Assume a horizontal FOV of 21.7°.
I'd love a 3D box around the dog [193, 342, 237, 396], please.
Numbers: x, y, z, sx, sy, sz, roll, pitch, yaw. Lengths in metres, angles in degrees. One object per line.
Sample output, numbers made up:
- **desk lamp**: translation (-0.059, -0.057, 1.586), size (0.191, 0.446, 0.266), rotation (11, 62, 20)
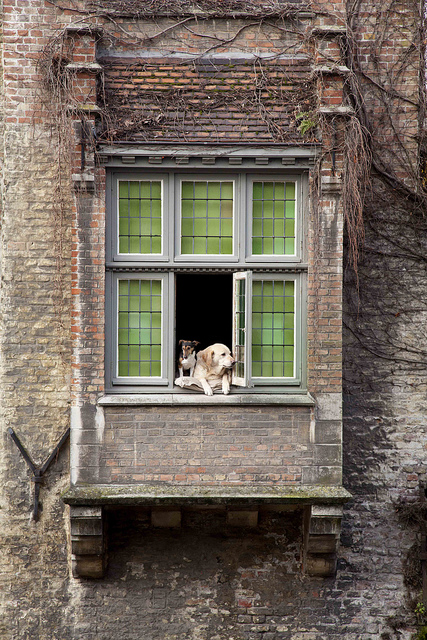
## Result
- **dog**: translation (-0.056, 0.447, 11.492), size (0.296, 0.464, 1.042), rotation (4, 6, -24)
